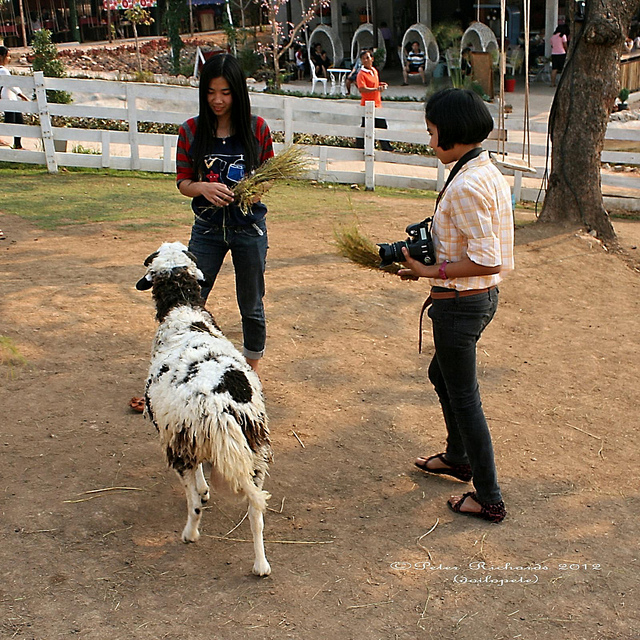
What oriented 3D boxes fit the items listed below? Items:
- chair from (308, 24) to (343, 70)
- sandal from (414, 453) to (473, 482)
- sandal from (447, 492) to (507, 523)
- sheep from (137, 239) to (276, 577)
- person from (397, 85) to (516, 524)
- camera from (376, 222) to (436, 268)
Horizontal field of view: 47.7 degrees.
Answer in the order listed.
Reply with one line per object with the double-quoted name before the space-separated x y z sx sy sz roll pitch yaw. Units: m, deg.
"chair" 0.220 -11.001 29.427 1.819 1.516 1.578 5 49 10
"sandal" 0.752 0.931 4.637 0.412 0.110 0.125 9 19 22
"sandal" 0.951 1.102 4.276 0.337 0.099 0.144 10 17 26
"sheep" -0.629 0.494 4.098 0.688 1.474 1.397 -7 16 -13
"person" 0.779 -0.045 4.145 0.638 2.454 0.717 0 18 12
"camera" 0.503 -0.396 3.990 0.342 0.187 0.337 -4 12 -1
